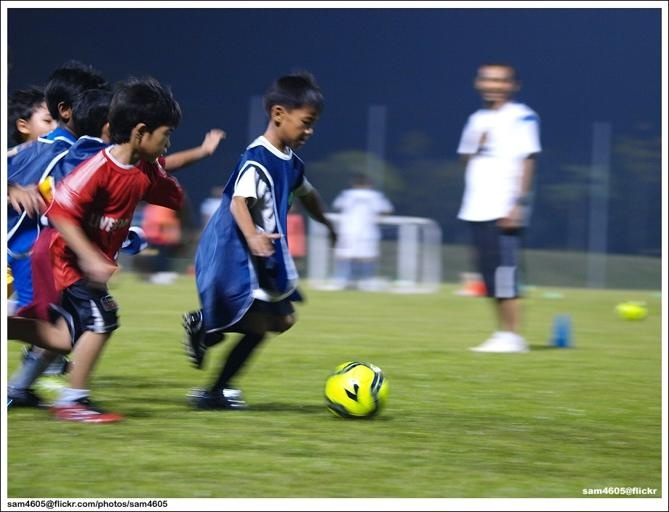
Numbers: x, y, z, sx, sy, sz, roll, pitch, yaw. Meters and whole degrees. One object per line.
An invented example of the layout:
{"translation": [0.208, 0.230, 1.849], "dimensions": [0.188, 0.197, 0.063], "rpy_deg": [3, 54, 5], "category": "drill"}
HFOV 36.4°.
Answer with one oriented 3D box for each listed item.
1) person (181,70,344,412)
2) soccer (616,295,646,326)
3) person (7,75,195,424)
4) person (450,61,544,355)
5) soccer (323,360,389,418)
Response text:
{"translation": [-0.419, -0.092, 5.552], "dimensions": [0.596, 1.842, 0.777], "rpy_deg": [5, 6, 27], "category": "person"}
{"translation": [2.867, 0.532, 9.795], "dimensions": [0.281, 0.158, 0.289], "rpy_deg": [2, 4, 25], "category": "soccer"}
{"translation": [-1.268, -0.051, 5.293], "dimensions": [0.877, 1.763, 0.647], "rpy_deg": [1, 6, -8], "category": "person"}
{"translation": [1.220, -0.355, 7.486], "dimensions": [0.543, 2.075, 0.646], "rpy_deg": [2, 6, -4], "category": "person"}
{"translation": [0.118, 0.720, 5.531], "dimensions": [0.354, 0.309, 0.407], "rpy_deg": [-1, 7, -11], "category": "soccer"}
